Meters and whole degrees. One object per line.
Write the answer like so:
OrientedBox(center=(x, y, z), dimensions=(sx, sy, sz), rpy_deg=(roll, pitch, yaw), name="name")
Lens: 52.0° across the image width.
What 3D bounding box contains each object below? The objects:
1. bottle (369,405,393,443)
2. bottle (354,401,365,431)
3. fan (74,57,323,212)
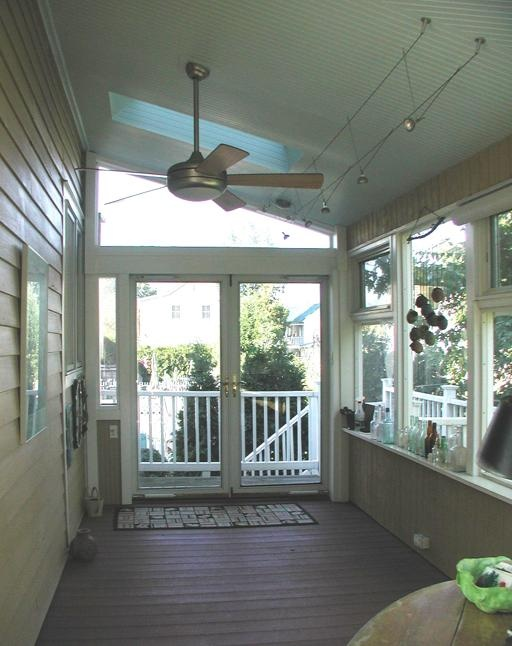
OrientedBox(center=(1.000, 0.801, 4.167), dimensions=(0.111, 0.302, 0.322), rpy_deg=(3, -8, -7), name="bottle")
OrientedBox(center=(0.933, 0.823, 4.722), dimensions=(0.084, 0.253, 0.163), rpy_deg=(0, -3, 11), name="bottle")
OrientedBox(center=(-0.345, -1.050, 2.748), dimensions=(0.999, 0.766, 1.121), rpy_deg=(2, -5, -23), name="fan")
